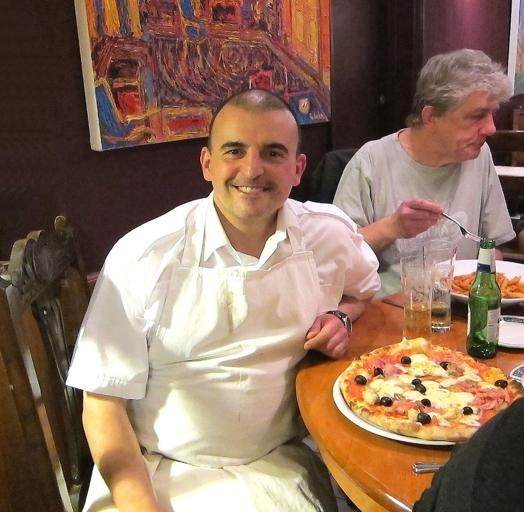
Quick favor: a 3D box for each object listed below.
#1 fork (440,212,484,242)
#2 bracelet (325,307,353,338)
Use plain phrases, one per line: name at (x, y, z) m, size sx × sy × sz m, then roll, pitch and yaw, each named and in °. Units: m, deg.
fork at (0.845, -0.124, 1.983) m, size 0.045 × 0.051 × 0.354 m, roll 1°, pitch -23°, yaw 39°
bracelet at (0.219, 0.186, 1.315) m, size 0.063 × 0.060 × 0.058 m, roll -22°, pitch 62°, yaw -41°
